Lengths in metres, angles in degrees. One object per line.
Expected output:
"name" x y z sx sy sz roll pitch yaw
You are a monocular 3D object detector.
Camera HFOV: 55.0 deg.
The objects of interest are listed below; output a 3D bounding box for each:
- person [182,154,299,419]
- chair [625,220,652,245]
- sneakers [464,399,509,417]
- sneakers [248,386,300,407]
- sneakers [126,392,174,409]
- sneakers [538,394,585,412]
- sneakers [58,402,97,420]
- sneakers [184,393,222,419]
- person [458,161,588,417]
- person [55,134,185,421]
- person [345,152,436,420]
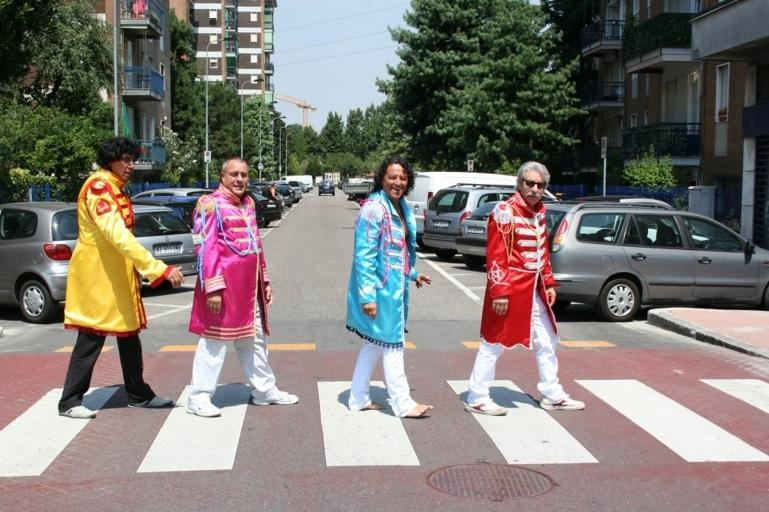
"person" -1.426 0.288 7.120 0.919 2.442 0.716 1 11 -6
"chair" 4.236 -0.422 12.146 0.390 0.548 0.475 3 3 7
"sneakers" 0.981 1.437 7.163 0.361 0.141 0.145 1 0 11
"sneakers" -1.089 1.383 7.382 0.402 0.169 0.205 0 2 -12
"sneakers" -2.302 1.402 7.352 0.440 0.172 0.155 -1 0 -8
"sneakers" 1.762 1.436 7.364 0.404 0.162 0.158 -1 0 0
"sneakers" -2.868 1.447 7.001 0.269 0.098 0.149 0 0 9
"sneakers" -1.717 1.404 7.040 0.334 0.139 0.170 2 3 42
"person" 1.320 0.312 7.170 0.970 2.429 0.484 0 11 -12
"person" -2.596 0.182 7.088 1.029 2.636 1.059 -3 12 -24
"person" 0.033 0.289 7.001 0.733 2.441 0.524 2 11 -3
